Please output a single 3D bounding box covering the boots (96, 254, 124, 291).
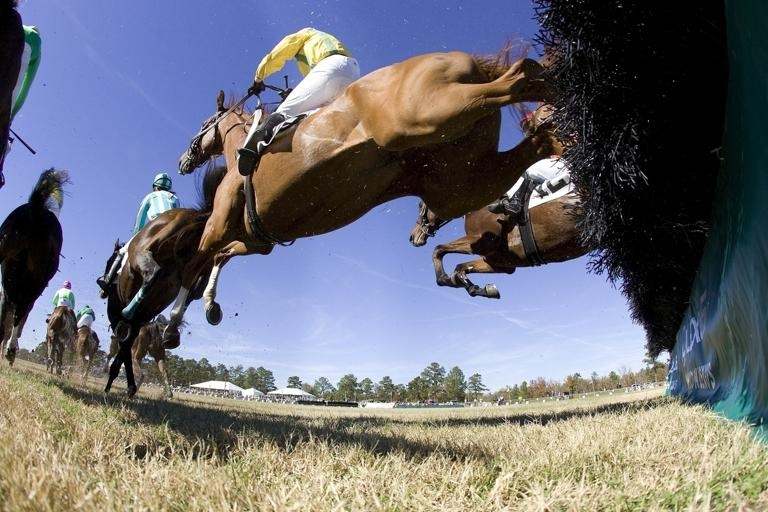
[{"bbox_3d":[-4.034,0.276,7.748,0.161,0.469,0.343,24,2,-26],"label":"boots"}]
